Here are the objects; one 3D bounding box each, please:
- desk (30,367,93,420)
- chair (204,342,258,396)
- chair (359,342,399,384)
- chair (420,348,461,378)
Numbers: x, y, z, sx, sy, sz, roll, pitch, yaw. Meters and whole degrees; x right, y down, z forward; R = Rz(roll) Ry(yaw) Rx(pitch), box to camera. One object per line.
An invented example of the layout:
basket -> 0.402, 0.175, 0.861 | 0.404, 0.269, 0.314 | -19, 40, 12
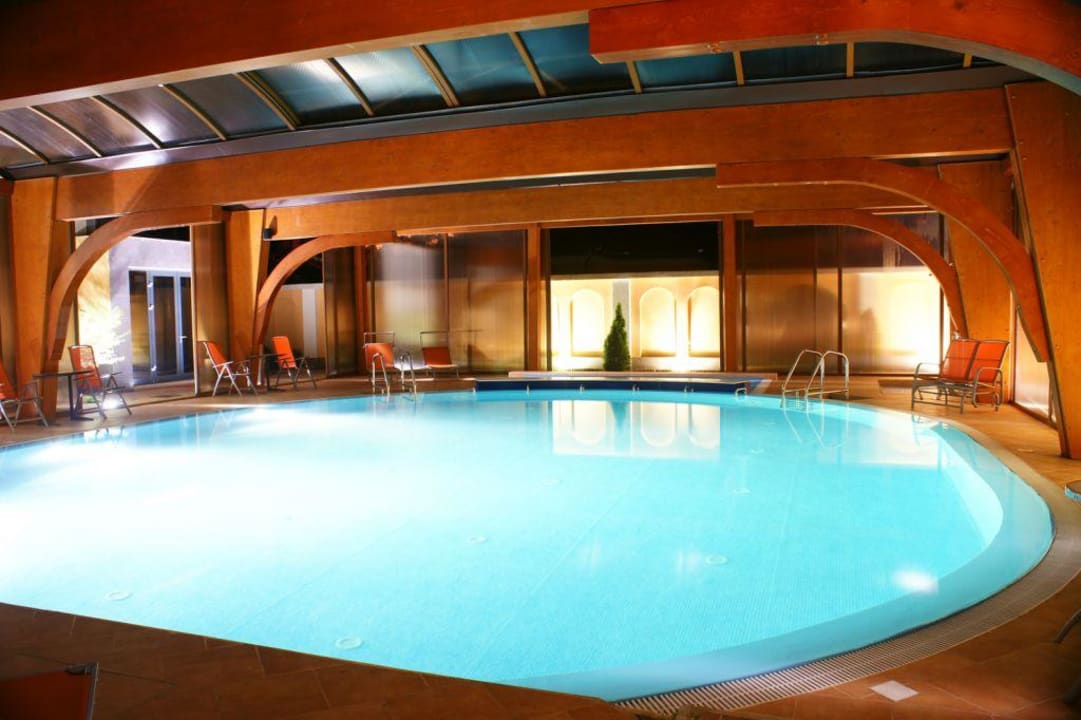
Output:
desk -> -7.899, 0.479, 11.492 | 0.941, 0.914, 0.955 | 0, 0, 24
chair -> -6.650, 0.169, 14.316 | 1.052, 1.328, 0.891 | 0, 3, 5
chair -> -3.747, 0.090, 16.349 | 0.967, 1.206, 1.083 | -2, 5, -28
chair -> -2.484, 0.036, 16.891 | 0.632, 0.597, 0.924 | -2, 3, -16
